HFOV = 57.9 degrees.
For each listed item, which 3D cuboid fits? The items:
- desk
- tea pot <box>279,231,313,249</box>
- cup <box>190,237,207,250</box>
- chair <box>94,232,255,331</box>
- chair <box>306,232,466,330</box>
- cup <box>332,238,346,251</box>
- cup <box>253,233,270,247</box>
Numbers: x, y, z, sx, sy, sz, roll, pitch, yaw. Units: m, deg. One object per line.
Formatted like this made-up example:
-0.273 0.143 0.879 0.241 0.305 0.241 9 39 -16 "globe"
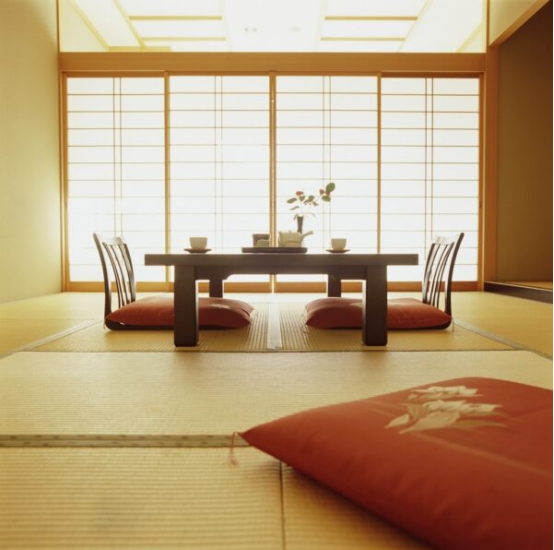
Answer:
0.029 0.067 2.671 1.310 0.438 0.713 0 13 3 "desk"
0.108 -0.192 2.739 0.172 0.075 0.100 1 5 -4 "tea pot"
-0.406 -0.170 2.630 0.072 0.054 0.074 -1 -3 0 "cup"
-0.630 0.142 3.057 0.782 0.480 0.780 0 -1 -3 "chair"
0.660 0.103 3.043 0.734 0.445 0.731 1 -2 3 "chair"
0.349 -0.172 2.798 0.080 0.058 0.070 -1 1 3 "cup"
-0.087 -0.206 2.858 0.086 0.094 0.154 0 0 -4 "cup"
